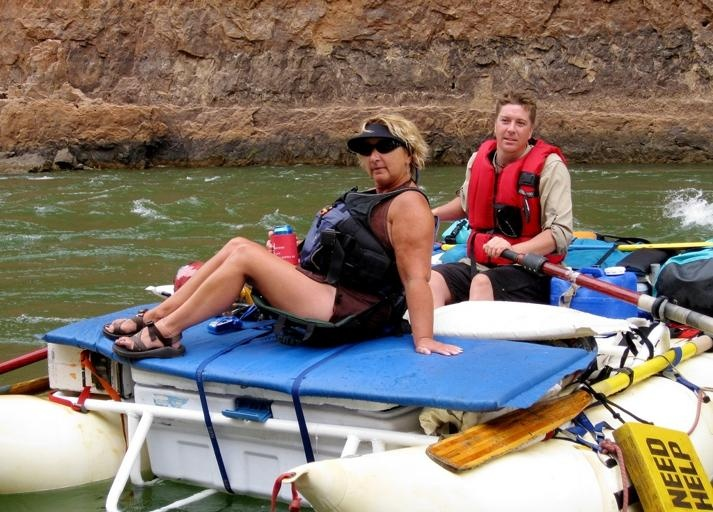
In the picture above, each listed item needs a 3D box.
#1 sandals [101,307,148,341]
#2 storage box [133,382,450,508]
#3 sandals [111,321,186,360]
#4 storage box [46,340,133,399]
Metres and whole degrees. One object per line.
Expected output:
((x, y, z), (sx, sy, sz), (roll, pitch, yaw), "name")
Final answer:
((-1.325, 0.403, 4.539), (0.143, 0.074, 0.359), (21, 30, 40), "sandals")
((-0.485, 1.020, 4.214), (1.692, 0.668, 0.361), (6, 14, 24), "storage box")
((-1.174, 0.486, 4.349), (0.422, 0.127, 0.190), (3, 6, 0), "sandals")
((-1.533, 0.691, 4.798), (0.719, 0.319, 0.348), (2, 0, 1), "storage box")
